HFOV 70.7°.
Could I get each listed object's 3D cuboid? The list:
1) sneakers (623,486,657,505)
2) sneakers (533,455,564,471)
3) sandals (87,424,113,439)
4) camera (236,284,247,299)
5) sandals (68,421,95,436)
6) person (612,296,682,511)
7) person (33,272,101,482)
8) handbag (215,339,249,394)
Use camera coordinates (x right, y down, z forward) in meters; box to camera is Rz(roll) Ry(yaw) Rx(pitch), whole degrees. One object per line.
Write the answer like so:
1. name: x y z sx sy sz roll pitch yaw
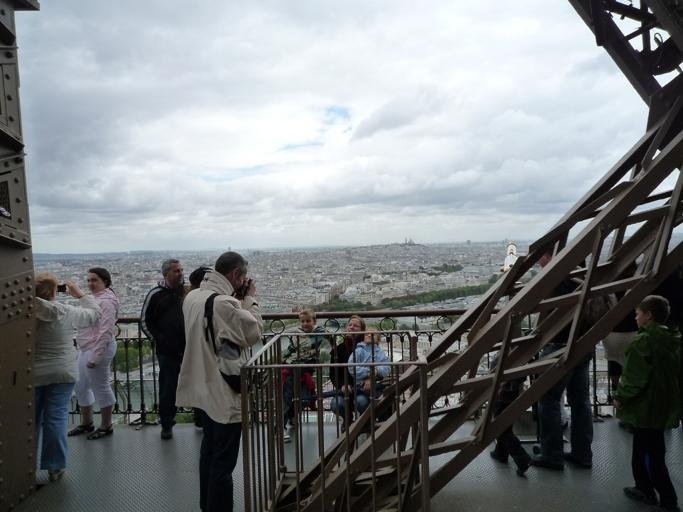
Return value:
1. sneakers: 2.434 1.949 3.905 0.086 0.085 0.200 -9 13 -39
2. sneakers: 1.887 1.880 4.388 0.264 0.115 0.059 0 -1 25
3. sandals: -2.606 1.905 5.199 0.102 0.083 0.226 -2 -9 40
4. camera: -0.799 0.285 3.876 0.076 0.105 0.038 8 6 -15
5. sandals: -2.847 1.906 5.268 0.260 0.104 0.095 6 -9 -26
6. person: 2.472 1.165 3.875 0.426 1.679 0.442 0 -1 35
7. person: -2.696 1.095 4.527 0.413 1.872 0.658 0 -1 25
8. handbag: -0.811 0.822 3.548 0.274 0.332 0.183 21 33 28
